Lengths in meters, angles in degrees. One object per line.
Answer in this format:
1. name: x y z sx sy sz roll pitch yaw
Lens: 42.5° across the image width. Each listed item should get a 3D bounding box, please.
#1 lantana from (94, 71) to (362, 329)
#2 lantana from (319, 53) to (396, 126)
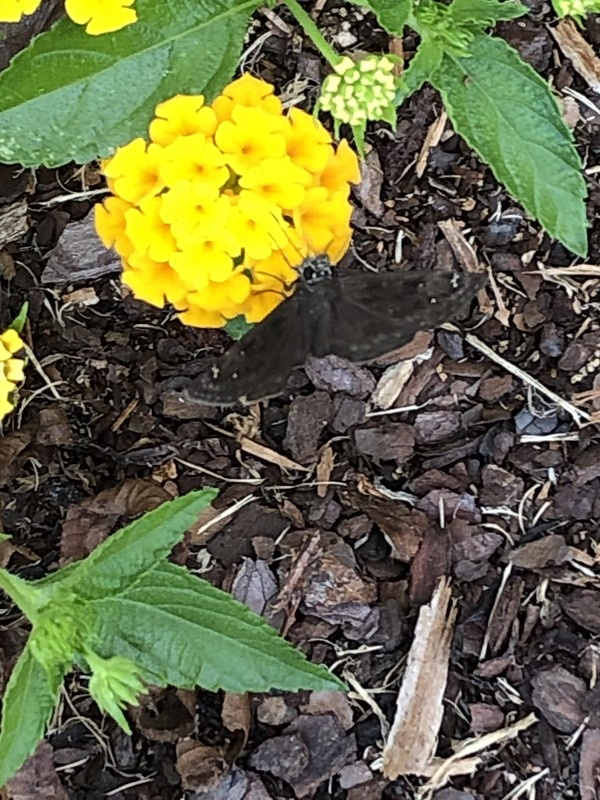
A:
1. lantana: -0.187 -0.437 1.655 0.526 0.518 0.192 -48 30 6
2. lantana: 0.111 -0.600 1.475 0.149 0.110 0.213 0 47 5
